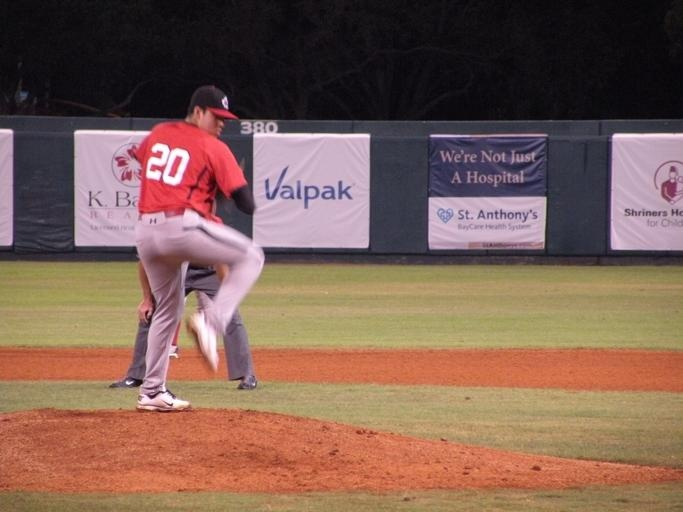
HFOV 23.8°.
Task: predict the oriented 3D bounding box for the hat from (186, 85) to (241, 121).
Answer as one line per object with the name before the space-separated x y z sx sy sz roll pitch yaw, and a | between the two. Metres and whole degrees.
hat | -1.957 -2.367 24.785 0.856 0.423 0.581 15 4 14

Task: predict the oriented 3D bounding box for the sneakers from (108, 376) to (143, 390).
sneakers | -3.450 2.035 26.006 0.692 0.247 0.215 1 1 4

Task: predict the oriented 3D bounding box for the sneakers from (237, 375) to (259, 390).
sneakers | -1.530 2.048 26.100 0.183 0.136 0.349 1 4 -11
